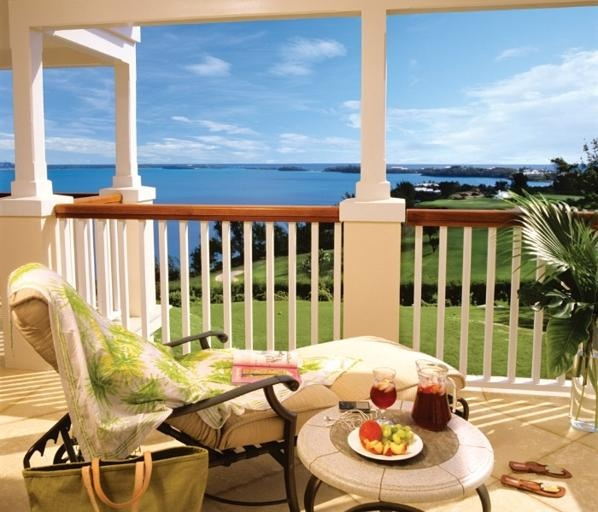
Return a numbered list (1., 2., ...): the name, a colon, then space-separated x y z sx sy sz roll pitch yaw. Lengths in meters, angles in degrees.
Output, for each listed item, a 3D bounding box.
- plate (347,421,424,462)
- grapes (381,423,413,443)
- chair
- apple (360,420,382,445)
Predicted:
1. plate: 0.265 0.589 1.624 0.150 0.039 0.150 1 4 26
2. grapes: 0.306 0.552 1.629 0.059 0.029 0.075 1 -5 25
3. chair: -0.232 0.313 2.439 1.790 0.891 1.038 -4 8 -19
4. apple: 0.223 0.553 1.629 0.073 0.071 0.065 3 -14 -10
